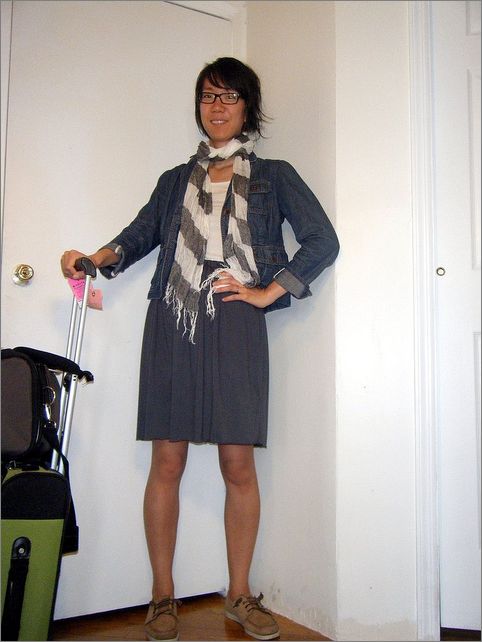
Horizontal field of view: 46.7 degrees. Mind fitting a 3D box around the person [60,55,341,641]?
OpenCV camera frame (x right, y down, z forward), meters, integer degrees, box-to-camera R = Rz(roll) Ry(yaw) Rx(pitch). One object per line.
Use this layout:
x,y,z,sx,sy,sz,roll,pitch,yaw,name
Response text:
-0.063,0.012,1.551,0.653,1.628,0.378,1,-4,12,person
